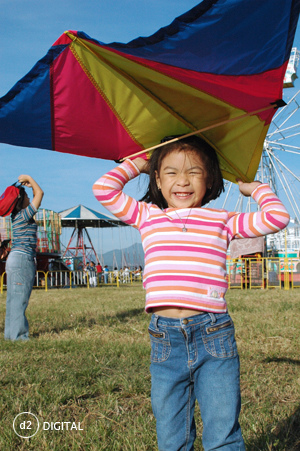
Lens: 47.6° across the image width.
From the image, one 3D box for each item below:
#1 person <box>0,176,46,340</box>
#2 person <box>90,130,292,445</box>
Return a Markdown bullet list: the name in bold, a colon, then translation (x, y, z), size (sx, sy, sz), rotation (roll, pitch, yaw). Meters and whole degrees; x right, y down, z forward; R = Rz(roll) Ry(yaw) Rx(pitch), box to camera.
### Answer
- **person**: translation (-1.784, 0.403, 4.767), size (0.470, 1.937, 0.471), rotation (0, -4, -38)
- **person**: translation (0.197, 0.197, 1.677), size (0.911, 1.277, 0.575), rotation (-4, -3, 18)
